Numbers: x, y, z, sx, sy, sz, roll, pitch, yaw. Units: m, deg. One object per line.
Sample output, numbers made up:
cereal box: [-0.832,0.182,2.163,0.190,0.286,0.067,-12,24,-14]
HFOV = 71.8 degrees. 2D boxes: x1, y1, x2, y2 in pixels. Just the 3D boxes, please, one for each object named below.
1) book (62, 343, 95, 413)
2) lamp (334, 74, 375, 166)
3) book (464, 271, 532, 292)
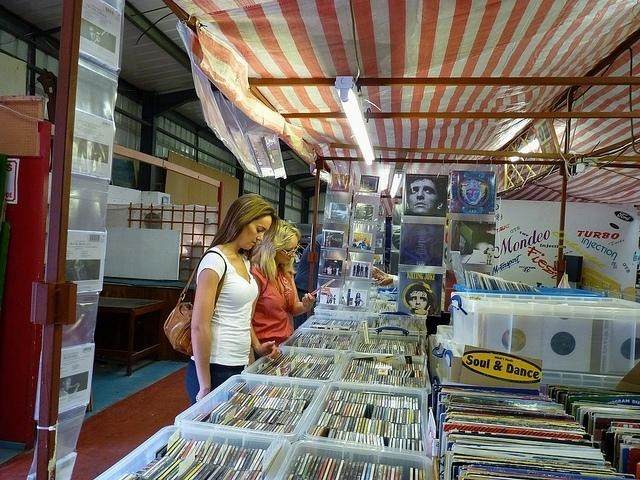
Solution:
book: [-1.029,0.589,1.874,0.058,0.315,0.209,5,9,3]
lamp: [0.266,-0.855,3.336,0.142,0.142,0.944,2,-20,13]
book: [1.081,0.272,2.738,0.216,0.070,0.211,2,2,10]
